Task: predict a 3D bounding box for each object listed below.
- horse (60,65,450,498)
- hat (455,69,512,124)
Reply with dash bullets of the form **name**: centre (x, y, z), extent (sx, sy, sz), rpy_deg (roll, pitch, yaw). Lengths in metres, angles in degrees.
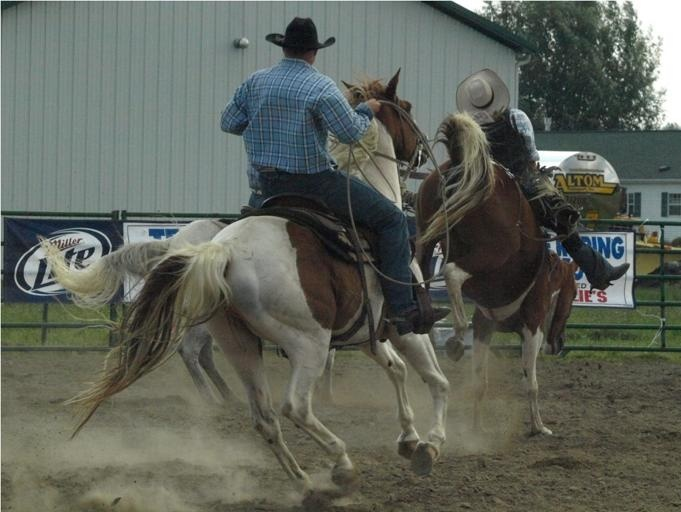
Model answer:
- **horse**: centre (-0.529, 0.717, 15.603), extent (6.409, 5.207, 1.707), rpy_deg (-6, 1, -30)
- **hat**: centre (1.998, -2.339, 16.834), extent (0.892, 0.358, 0.827), rpy_deg (22, 35, 18)
